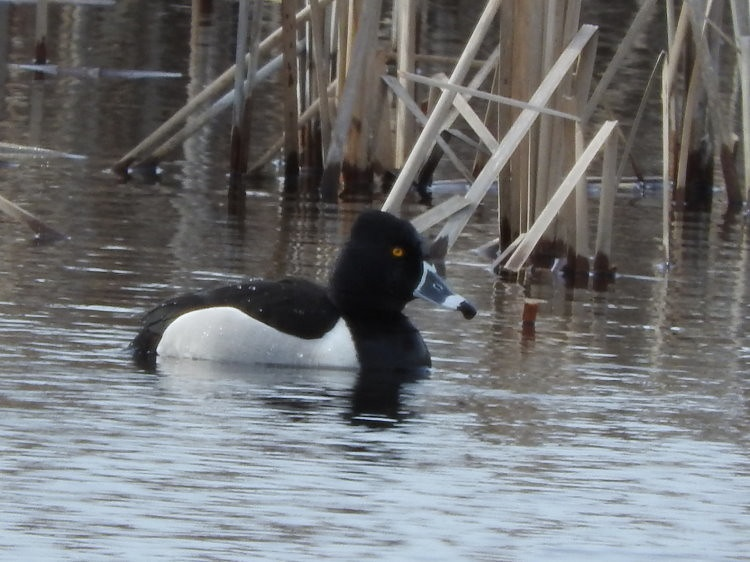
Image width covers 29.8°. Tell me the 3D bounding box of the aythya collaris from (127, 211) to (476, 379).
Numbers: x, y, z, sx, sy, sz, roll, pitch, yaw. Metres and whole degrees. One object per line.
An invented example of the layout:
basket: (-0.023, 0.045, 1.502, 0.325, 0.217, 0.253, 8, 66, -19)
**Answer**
aythya collaris: (-0.373, 0.075, 5.903, 1.688, 0.602, 0.579, 1, 5, 30)
